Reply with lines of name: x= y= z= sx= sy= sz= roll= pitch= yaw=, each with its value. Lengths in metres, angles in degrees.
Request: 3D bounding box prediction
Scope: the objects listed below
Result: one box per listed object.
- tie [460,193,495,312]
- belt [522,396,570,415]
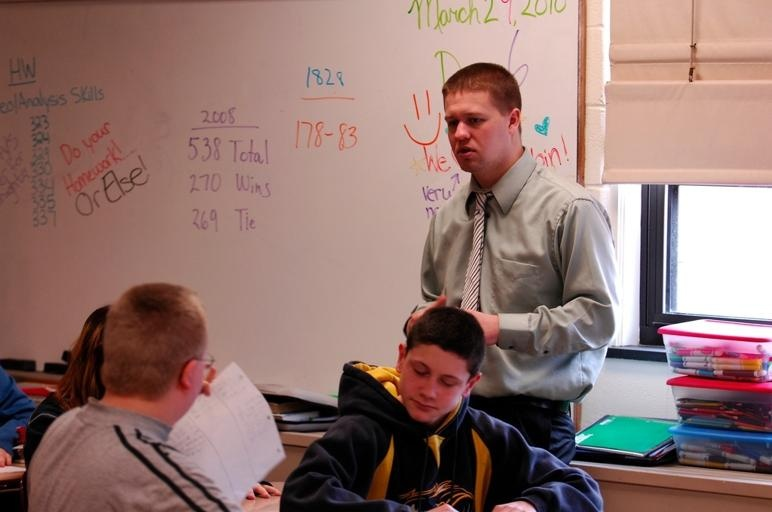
tie: x=0.326 y=-0.006 z=2.137 sx=0.077 sy=0.520 sz=0.073 roll=6 pitch=-16 yaw=6
belt: x=0.572 y=0.516 z=2.059 sx=0.100 sy=0.029 sz=0.098 roll=3 pitch=-3 yaw=40
